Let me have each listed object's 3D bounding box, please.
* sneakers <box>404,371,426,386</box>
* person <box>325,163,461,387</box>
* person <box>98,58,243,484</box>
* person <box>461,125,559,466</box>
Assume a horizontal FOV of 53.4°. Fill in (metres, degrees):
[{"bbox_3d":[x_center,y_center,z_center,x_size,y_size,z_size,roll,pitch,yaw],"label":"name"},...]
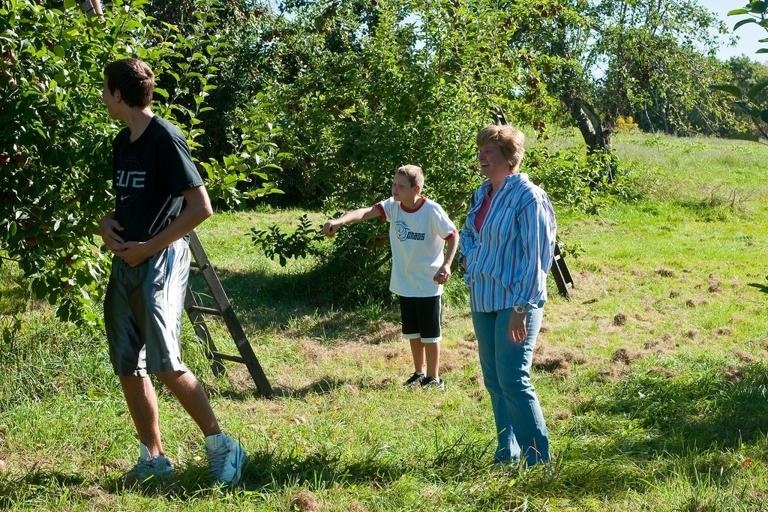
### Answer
[{"bbox_3d":[0.331,1.324,8.105,0.258,0.111,0.098,-5,-1,31],"label":"sneakers"},{"bbox_3d":[0.271,0.239,8.039,1.069,2.317,0.771,7,15,23],"label":"person"},{"bbox_3d":[-1.706,0.107,6.057,1.043,3.236,0.947,-1,14,-7],"label":"person"},{"bbox_3d":[1.051,0.331,6.371,0.578,2.754,1.060,-4,14,-20],"label":"person"}]
